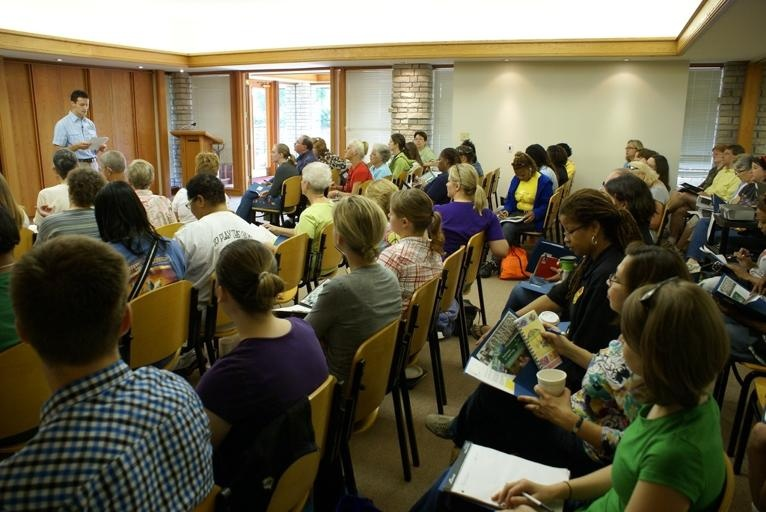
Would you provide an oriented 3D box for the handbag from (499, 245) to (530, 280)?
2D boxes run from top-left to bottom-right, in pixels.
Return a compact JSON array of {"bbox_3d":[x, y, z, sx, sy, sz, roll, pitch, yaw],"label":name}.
[{"bbox_3d":[1.464,0.086,5.766,0.351,0.405,0.221,3,6,7],"label":"handbag"}]

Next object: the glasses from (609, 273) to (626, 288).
[{"bbox_3d":[0.978,0.100,2.155,0.048,0.014,0.047,27,15,17],"label":"glasses"}]

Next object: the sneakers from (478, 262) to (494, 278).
[{"bbox_3d":[1.236,0.159,6.086,0.141,0.163,0.406,6,4,24],"label":"sneakers"}]

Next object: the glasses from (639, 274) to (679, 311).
[{"bbox_3d":[0.890,0.114,1.669,0.122,0.094,0.048,-4,16,-19],"label":"glasses"}]

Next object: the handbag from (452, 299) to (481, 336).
[{"bbox_3d":[0.722,0.498,4.292,0.259,0.307,0.313,5,-10,-3],"label":"handbag"}]

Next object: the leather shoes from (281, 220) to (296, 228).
[{"bbox_3d":[-1.318,-0.435,7.404,0.138,0.104,0.133,3,0,-43],"label":"leather shoes"}]

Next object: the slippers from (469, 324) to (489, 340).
[{"bbox_3d":[0.828,0.643,4.417,0.189,0.110,0.274,2,6,14],"label":"slippers"}]

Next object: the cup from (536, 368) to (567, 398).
[{"bbox_3d":[0.713,0.521,2.173,0.109,0.089,0.108,-3,11,1],"label":"cup"}]
